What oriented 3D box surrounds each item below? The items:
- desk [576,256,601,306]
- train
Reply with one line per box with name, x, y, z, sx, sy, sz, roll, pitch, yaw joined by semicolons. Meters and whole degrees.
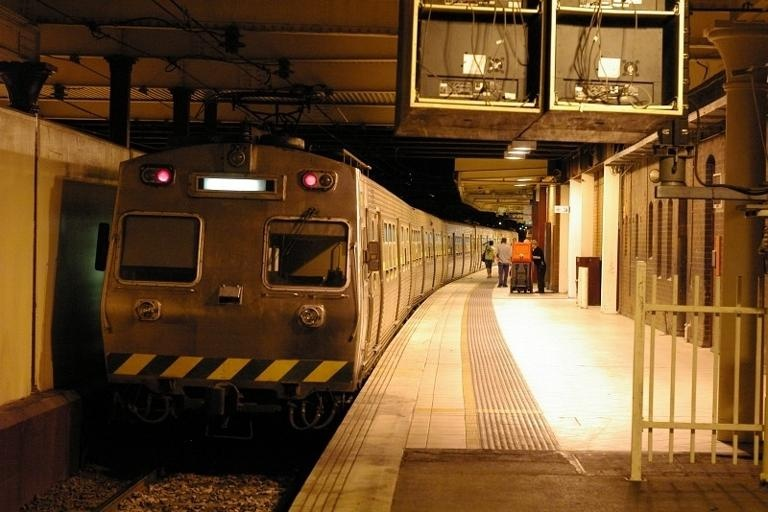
desk;5.812;0.729;23.331;0.615;1.424;1.222;1;5;12
train;-1.176;0.485;12.163;2.900;4.379;5.220;4;6;38
